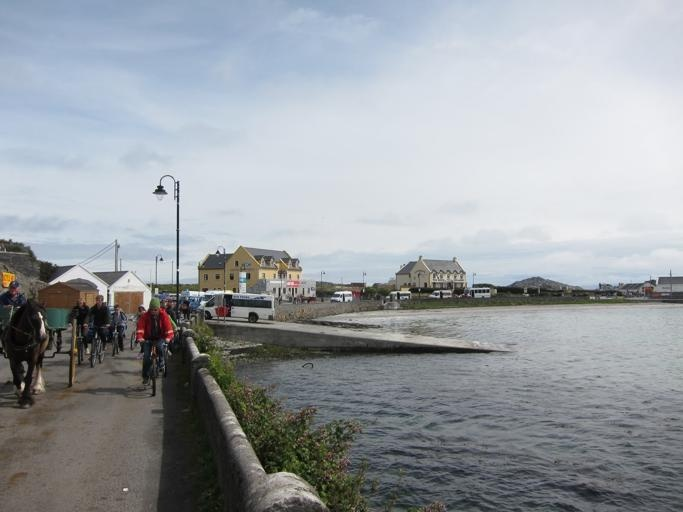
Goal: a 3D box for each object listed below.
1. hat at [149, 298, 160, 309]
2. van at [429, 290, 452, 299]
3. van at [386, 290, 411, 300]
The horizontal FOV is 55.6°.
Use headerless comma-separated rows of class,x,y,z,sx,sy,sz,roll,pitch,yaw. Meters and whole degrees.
hat,-5.358,1.351,18.589,0.247,0.257,0.328,7,7,-6
van,18.406,6.920,119.432,3.861,1.413,1.630,5,-5,-32
van,9.749,6.927,110.133,4.979,1.670,1.669,-4,7,-33
